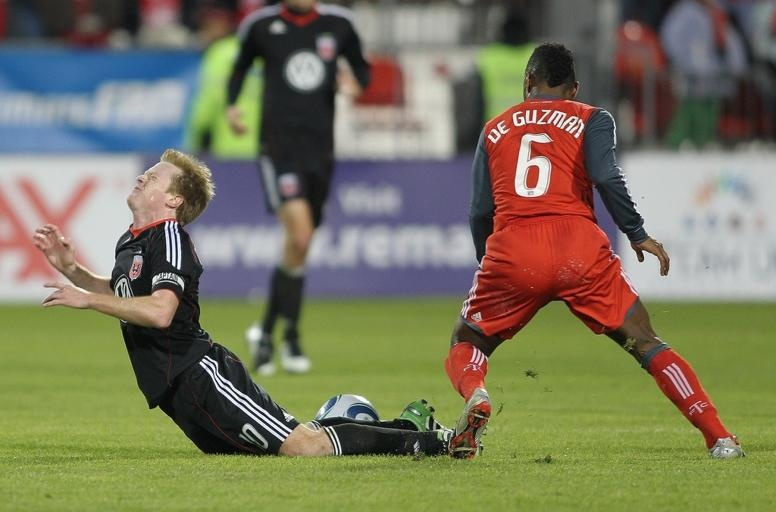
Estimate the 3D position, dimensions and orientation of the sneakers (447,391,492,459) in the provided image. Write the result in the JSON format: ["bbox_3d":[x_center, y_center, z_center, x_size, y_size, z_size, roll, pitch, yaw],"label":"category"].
[{"bbox_3d":[0.606,1.219,9.283,0.223,0.572,0.277,22,23,-2],"label":"sneakers"}]

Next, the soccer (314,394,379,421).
[{"bbox_3d":[-0.302,1.143,9.707,0.344,0.165,0.232,12,-15,-21],"label":"soccer"}]

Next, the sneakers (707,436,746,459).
[{"bbox_3d":[2.484,1.408,9.353,0.234,0.122,0.108,13,16,-44],"label":"sneakers"}]
